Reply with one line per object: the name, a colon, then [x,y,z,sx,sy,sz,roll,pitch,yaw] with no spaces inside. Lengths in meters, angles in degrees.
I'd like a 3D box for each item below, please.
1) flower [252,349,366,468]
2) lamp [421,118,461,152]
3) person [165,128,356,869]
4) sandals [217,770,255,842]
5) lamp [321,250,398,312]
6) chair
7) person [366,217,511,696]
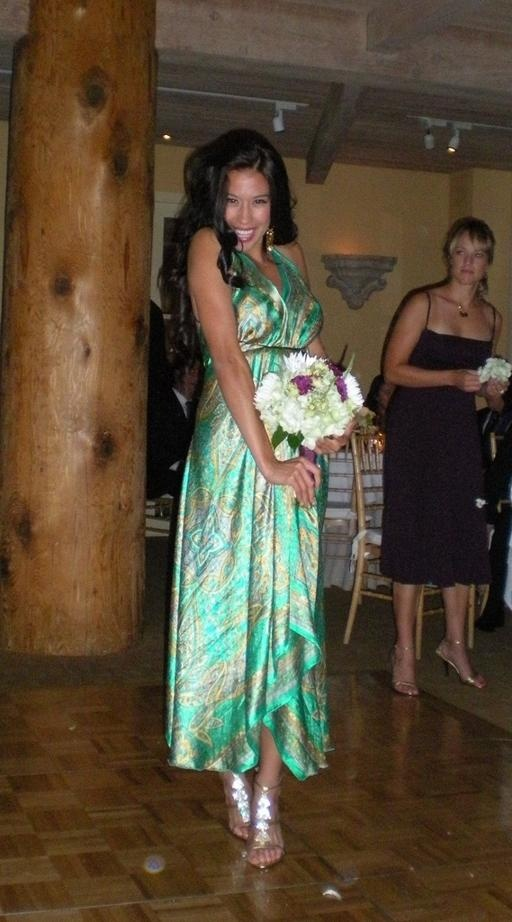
flower: [0.102,-0.111,1.495,0.193,0.177,0.201,2,0,11]
lamp: [1.295,-2.299,5.437,0.274,0.239,0.111,6,-27,-1]
person: [-0.002,0.064,1.613,0.376,1.219,0.401,1,1,-7]
sandals: [-0.049,0.753,1.681,0.053,0.166,0.069,-8,2,-7]
lamp: [0.847,-1.536,6.526,0.512,0.382,0.480,0,1,-7]
chair: [0.603,0.350,3.514,0.466,0.808,0.479,8,10,32]
person: [0.658,-0.012,2.786,0.434,1.567,0.447,2,1,25]
